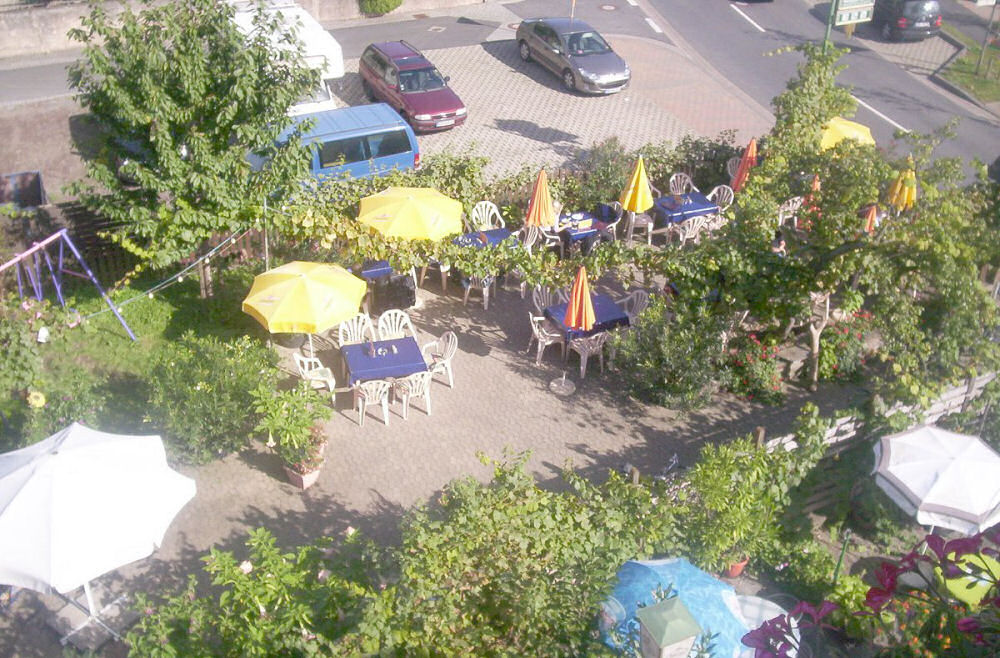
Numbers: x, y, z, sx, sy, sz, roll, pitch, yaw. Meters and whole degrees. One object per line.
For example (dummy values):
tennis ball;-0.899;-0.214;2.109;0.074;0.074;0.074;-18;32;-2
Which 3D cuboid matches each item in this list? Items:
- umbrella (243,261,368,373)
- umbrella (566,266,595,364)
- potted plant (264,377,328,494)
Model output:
umbrella;-4.382;-0.678;21.604;2.440;0.815;1.655;-2;45;-6
umbrella;1.863;-0.313;22.285;0.705;2.416;1.086;8;41;7
potted plant;-4.259;2.232;20.273;1.375;1.583;1.646;-15;46;-18
